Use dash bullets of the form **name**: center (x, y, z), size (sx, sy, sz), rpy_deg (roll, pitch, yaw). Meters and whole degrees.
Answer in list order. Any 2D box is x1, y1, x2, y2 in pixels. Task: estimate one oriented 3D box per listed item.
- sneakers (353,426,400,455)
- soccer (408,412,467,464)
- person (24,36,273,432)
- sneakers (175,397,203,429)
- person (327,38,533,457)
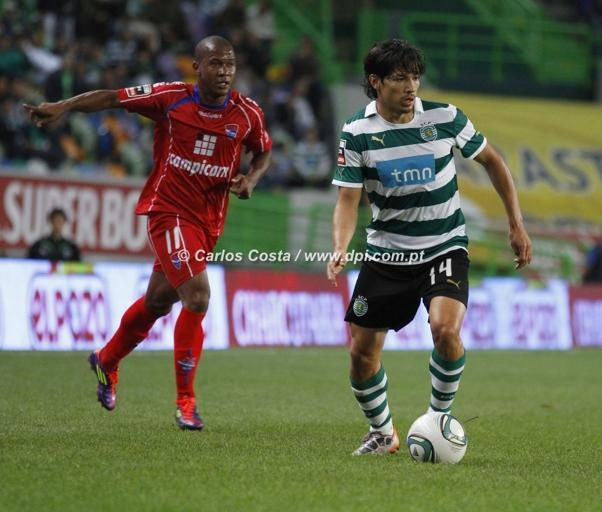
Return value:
- **sneakers**: center (0.523, 1.275, 6.638), size (0.335, 0.177, 0.136), rpy_deg (-1, -13, -27)
- **soccer**: center (0.914, 1.272, 6.481), size (0.426, 0.448, 0.457), rpy_deg (4, -4, 1)
- **person**: center (-0.959, -0.210, 7.318), size (1.443, 2.865, 0.810), rpy_deg (0, 9, -2)
- **sneakers**: center (-0.820, 1.171, 7.102), size (0.199, 0.191, 0.213), rpy_deg (0, 10, -7)
- **person**: center (0.797, -0.022, 6.535), size (1.202, 2.842, 0.737), rpy_deg (1, 9, 2)
